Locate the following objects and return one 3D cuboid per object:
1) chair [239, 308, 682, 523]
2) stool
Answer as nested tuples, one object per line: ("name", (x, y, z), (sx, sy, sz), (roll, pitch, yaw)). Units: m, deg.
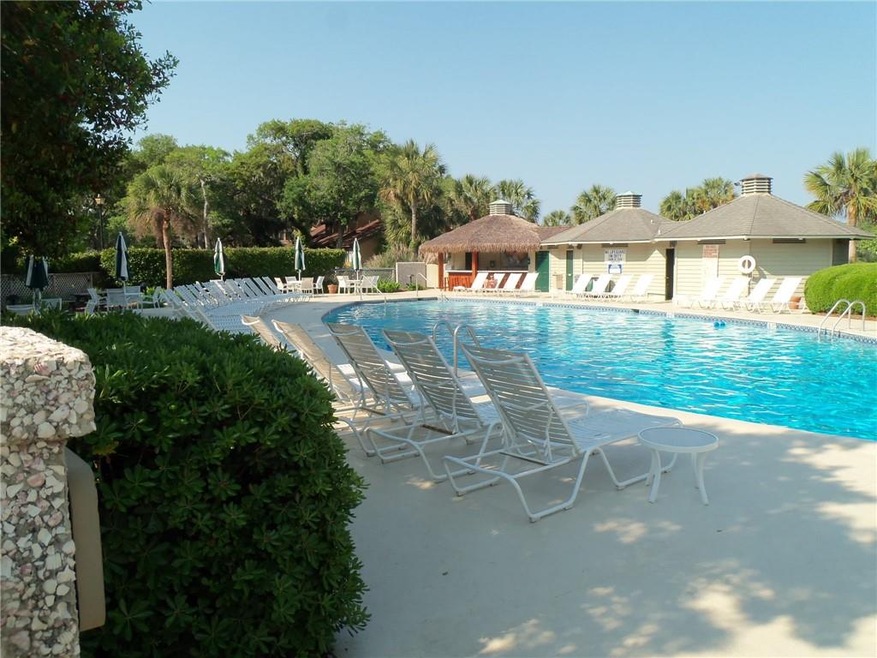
("chair", (0.895, 0.674, 5.529), (1.871, 1.165, 1.581), (-6, 9, -28))
("stool", (1.900, 1.028, 5.115), (0.561, 0.436, 0.584), (0, 3, 7))
